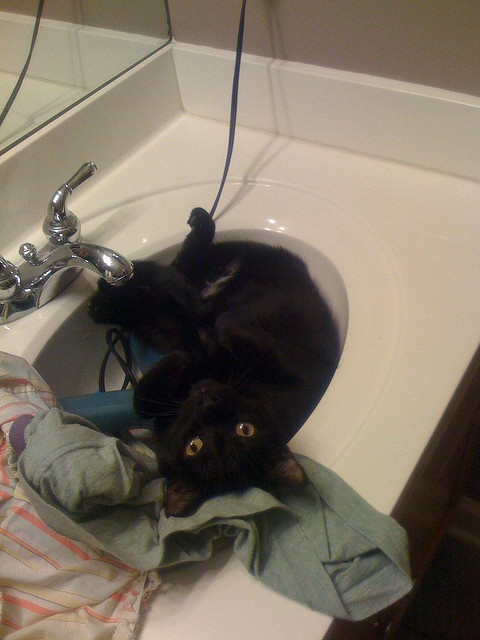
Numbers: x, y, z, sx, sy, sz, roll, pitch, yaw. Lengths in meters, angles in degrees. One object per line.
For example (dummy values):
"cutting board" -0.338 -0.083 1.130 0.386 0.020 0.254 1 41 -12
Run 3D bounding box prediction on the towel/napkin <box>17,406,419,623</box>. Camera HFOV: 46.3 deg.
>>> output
"towel/napkin" -0.034 0.178 0.494 0.325 0.049 0.171 19 39 10
